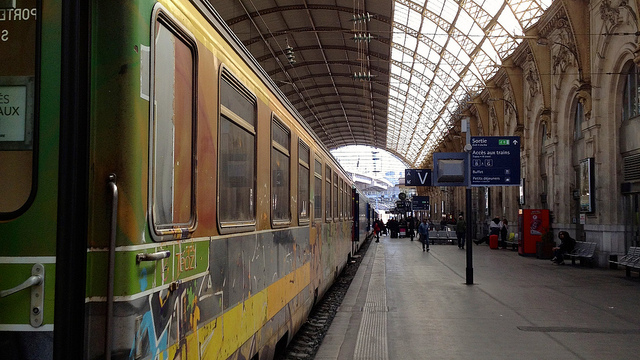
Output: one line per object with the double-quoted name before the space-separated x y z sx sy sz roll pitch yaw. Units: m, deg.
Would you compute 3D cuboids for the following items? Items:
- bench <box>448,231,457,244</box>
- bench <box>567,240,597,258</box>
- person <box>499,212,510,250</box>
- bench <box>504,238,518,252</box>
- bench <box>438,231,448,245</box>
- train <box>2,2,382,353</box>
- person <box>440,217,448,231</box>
"bench" 11.172 4.793 39.384 0.541 0.712 0.825 -3 6 10
"bench" 12.246 3.285 21.754 0.582 0.677 1.595 -1 -6 -6
"person" 13.666 3.936 34.602 0.747 2.570 0.697 11 -40 27
"bench" 13.275 4.541 32.451 0.349 0.625 0.896 10 -14 -30
"bench" 10.470 4.975 39.723 0.930 1.052 0.747 0 -2 6
"train" -1.100 0.372 6.360 1.087 4.439 5.851 -3 -5 23
"person" 13.890 5.005 52.423 1.019 0.979 3.458 8 -9 13
